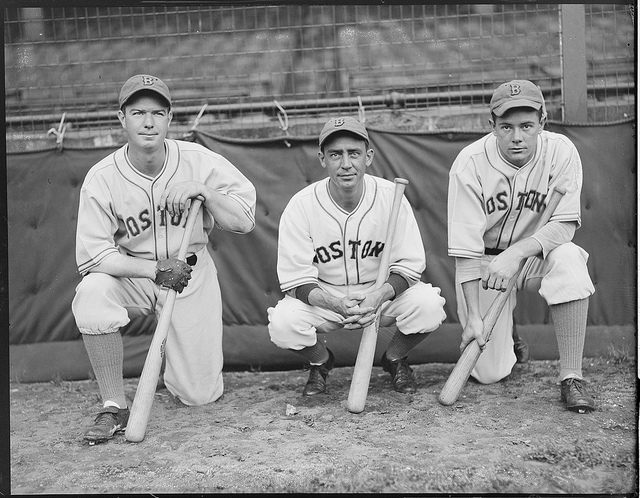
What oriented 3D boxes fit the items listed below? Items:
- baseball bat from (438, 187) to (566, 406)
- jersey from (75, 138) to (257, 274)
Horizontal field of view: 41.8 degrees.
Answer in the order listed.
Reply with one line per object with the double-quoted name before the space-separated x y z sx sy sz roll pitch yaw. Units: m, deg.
"baseball bat" 1.127 0.303 5.120 0.111 1.401 0.116 19 -12 32
"jersey" -0.966 -0.276 5.136 1.088 0.793 0.565 -16 28 -19
